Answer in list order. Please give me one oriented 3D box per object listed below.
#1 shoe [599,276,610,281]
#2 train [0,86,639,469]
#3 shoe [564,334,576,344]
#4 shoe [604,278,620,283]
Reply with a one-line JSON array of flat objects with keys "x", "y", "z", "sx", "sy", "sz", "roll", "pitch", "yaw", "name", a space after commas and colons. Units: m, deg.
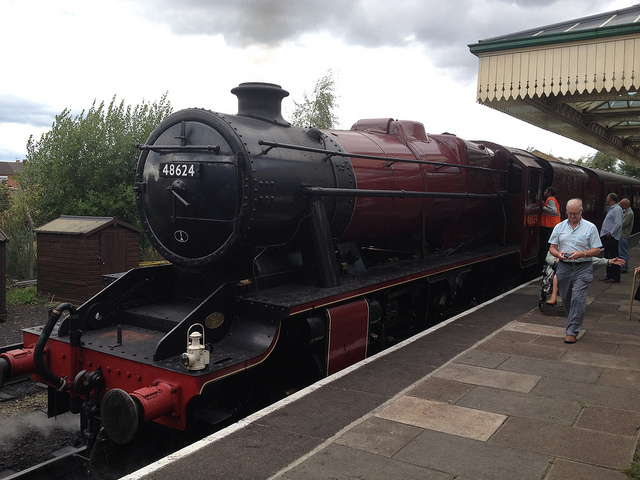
[{"x": 7.825, "y": 1.065, "z": 11.350, "sx": 0.394, "sy": 0.160, "sz": 0.115, "roll": 5, "pitch": -4, "yaw": -37, "name": "shoe"}, {"x": 1.213, "y": -0.100, "z": 9.177, "sx": 3.990, "sy": 4.139, "sz": 13.383, "roll": 3, "pitch": 9, "yaw": 39, "name": "train"}, {"x": 3.730, "y": 1.446, "z": 6.117, "sx": 0.201, "sy": 0.135, "sz": 0.091, "roll": 0, "pitch": 5, "yaw": -13, "name": "shoe"}, {"x": 7.851, "y": 1.083, "z": 11.118, "sx": 0.370, "sy": 0.149, "sz": 0.127, "roll": 3, "pitch": 0, "yaw": 6, "name": "shoe"}]
